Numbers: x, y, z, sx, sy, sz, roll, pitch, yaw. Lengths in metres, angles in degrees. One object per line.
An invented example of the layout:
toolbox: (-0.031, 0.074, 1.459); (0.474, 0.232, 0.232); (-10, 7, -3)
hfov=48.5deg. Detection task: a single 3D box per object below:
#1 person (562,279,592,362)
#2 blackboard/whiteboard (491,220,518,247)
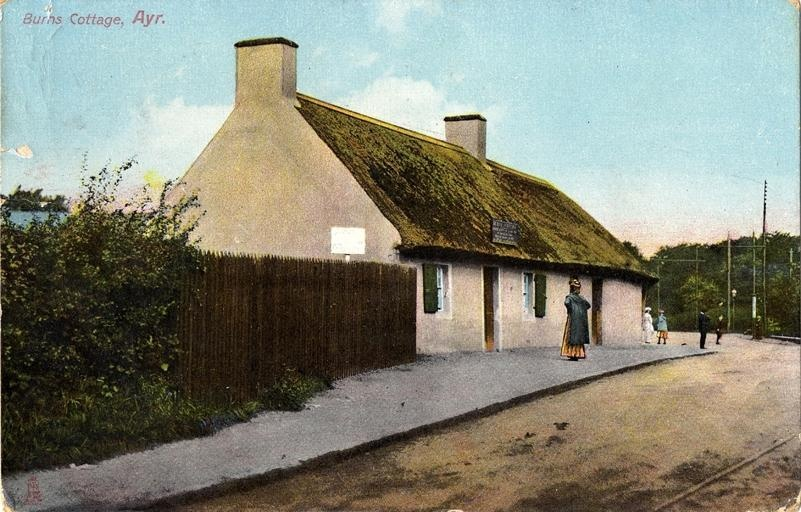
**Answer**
person: (4.854, 1.789, 24.628); (0.673, 2.285, 0.910); (3, 8, 14)
blackboard/whiteboard: (3.203, -0.721, 27.492); (0.572, 0.849, 2.131); (4, 9, 24)
